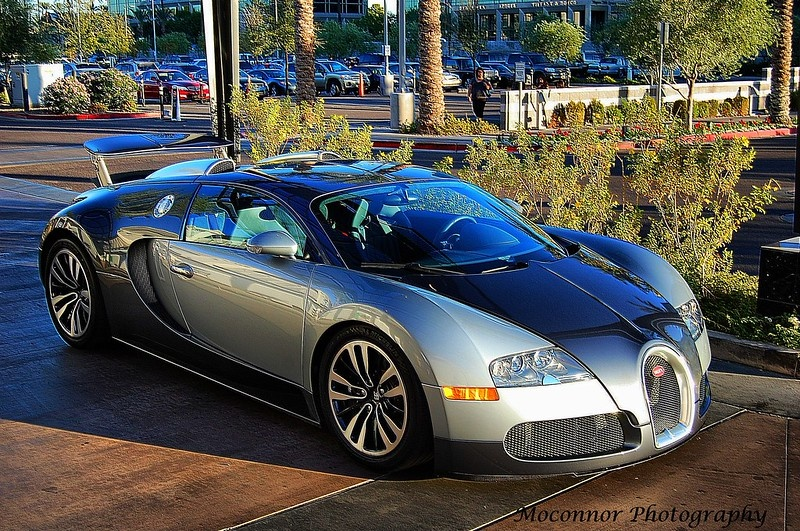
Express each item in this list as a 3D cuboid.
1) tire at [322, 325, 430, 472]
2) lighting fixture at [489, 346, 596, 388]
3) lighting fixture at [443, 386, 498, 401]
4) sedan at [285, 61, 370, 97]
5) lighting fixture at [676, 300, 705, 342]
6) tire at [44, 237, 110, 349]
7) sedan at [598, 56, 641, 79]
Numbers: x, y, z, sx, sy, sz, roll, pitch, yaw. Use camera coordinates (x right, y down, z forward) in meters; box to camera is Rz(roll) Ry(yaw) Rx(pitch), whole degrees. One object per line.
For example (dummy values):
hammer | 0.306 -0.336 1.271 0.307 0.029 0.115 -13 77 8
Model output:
tire | -0.123 0.888 4.252 0.355 1.028 1.033 -7 -12 -41
lighting fixture | 0.900 0.633 3.779 0.717 0.216 0.179 -3 13 -2
lighting fixture | 0.436 0.783 3.729 0.343 0.096 0.021 3 15 10
sedan | -4.748 -14.395 47.580 4.043 2.610 3.480 4 14 14
lighting fixture | 2.248 0.406 4.651 0.297 0.281 0.075 -12 -20 -47
tire | -3.150 0.251 5.953 0.350 1.065 0.951 -12 14 -41
sedan | 22.453 -19.838 61.684 2.716 2.353 5.492 -4 14 -15
